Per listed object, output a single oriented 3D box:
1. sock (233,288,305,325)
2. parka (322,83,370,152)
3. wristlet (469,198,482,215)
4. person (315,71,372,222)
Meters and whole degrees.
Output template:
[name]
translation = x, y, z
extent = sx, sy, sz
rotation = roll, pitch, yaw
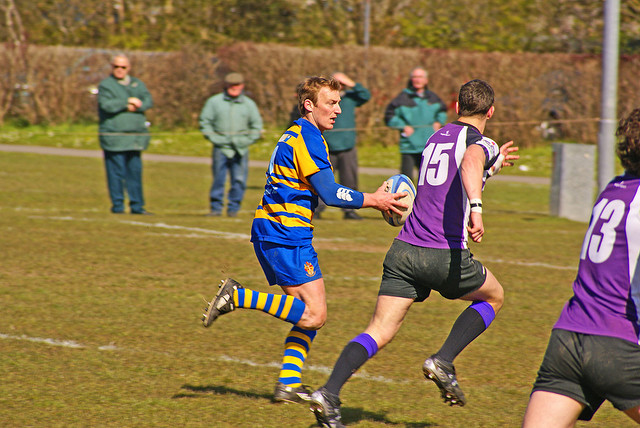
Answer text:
[sock]
translation = -0.674, 1.175, 16.536
extent = 0.909, 0.442, 0.128
rotation = 1, 12, 7
[parka]
translation = 0.432, -1.688, 22.815
extent = 0.856, 1.190, 0.388
rotation = -2, 12, -7
[wristlet]
translation = 1.868, -0.103, 15.957
extent = 0.199, 0.161, 0.167
rotation = 0, -4, 4
[person]
translation = 0.615, -1.187, 23.025
extent = 1.138, 2.456, 1.092
rotation = -1, -3, -30
